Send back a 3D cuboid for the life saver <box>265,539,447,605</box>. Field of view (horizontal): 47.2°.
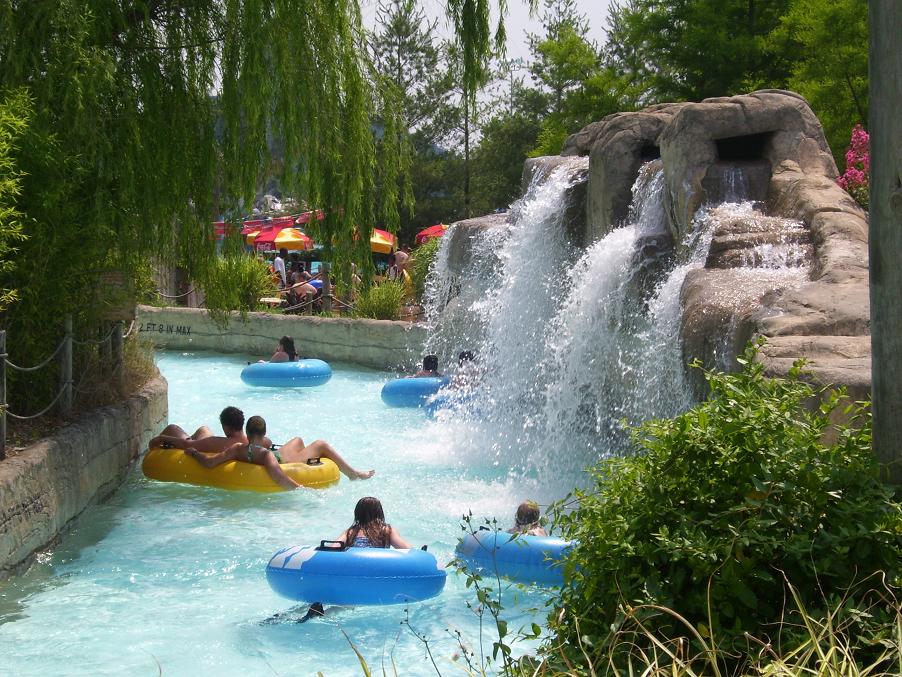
[{"bbox_3d":[-0.709,1.756,7.660,1.315,0.452,0.284,1,4,-4],"label":"life saver"}]

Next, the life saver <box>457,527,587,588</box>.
[{"bbox_3d":[0.502,1.558,7.306,0.771,0.273,0.868,5,-2,-2],"label":"life saver"}]

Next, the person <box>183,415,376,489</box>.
[{"bbox_3d":[-1.720,1.176,10.549,1.133,0.505,0.898,8,-7,-21],"label":"person"}]

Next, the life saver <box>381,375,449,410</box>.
[{"bbox_3d":[-0.536,0.783,14.950,0.917,0.438,0.533,1,4,-5],"label":"life saver"}]

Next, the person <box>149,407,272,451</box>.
[{"bbox_3d":[-2.538,1.003,10.727,0.761,0.489,0.560,7,4,24],"label":"person"}]
